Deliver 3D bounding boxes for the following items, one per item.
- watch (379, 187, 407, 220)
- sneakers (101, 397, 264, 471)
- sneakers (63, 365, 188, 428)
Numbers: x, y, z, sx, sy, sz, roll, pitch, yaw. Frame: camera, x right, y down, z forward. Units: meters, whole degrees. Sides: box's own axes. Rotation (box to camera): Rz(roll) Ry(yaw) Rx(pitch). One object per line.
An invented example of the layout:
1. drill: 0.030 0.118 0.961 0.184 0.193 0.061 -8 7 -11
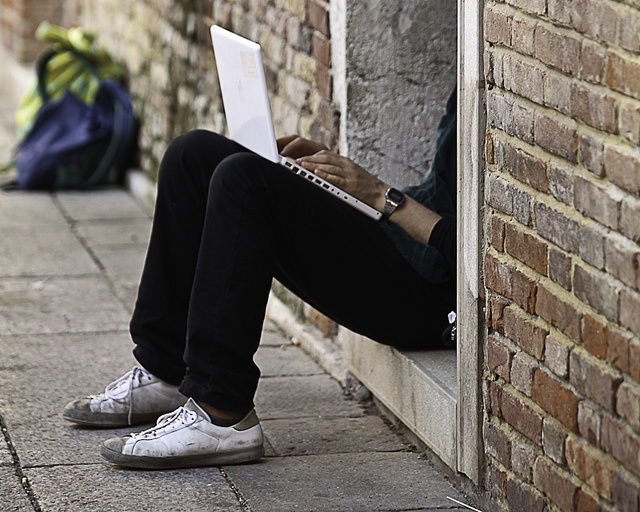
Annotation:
1. watch: 0.229 -0.170 2.352 0.057 0.090 0.096 28 56 8
2. sneakers: -0.393 0.568 2.346 0.542 0.273 0.197 1 0 -9
3. sneakers: -0.637 0.487 2.583 0.444 0.223 0.180 0 6 -14
